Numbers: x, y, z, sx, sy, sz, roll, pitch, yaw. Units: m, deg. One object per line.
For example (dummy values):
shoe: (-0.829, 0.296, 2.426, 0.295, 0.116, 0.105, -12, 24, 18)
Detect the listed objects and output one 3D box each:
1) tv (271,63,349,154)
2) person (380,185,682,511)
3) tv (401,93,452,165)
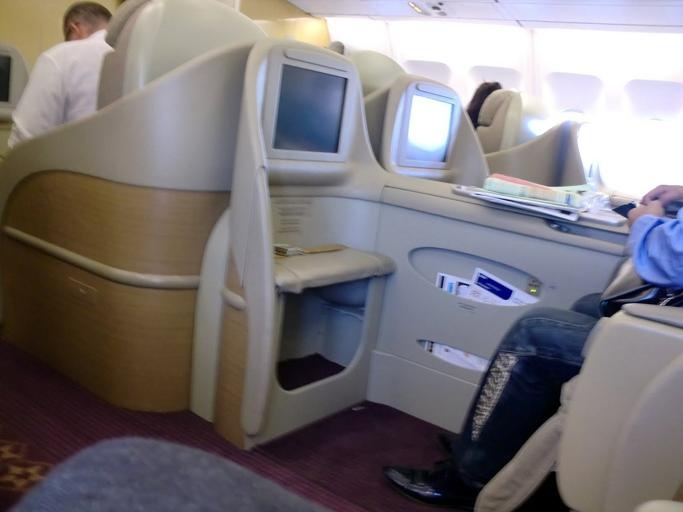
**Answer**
tv: (-0.115, -0.517, 1.979, 0.034, 0.344, 0.381, 19, 18, 40)
person: (0.605, 0.292, 1.542, 0.744, 0.995, 0.401, 6, 10, -17)
tv: (0.395, -0.567, 2.501, 0.046, 0.344, 0.456, 17, 16, 39)
